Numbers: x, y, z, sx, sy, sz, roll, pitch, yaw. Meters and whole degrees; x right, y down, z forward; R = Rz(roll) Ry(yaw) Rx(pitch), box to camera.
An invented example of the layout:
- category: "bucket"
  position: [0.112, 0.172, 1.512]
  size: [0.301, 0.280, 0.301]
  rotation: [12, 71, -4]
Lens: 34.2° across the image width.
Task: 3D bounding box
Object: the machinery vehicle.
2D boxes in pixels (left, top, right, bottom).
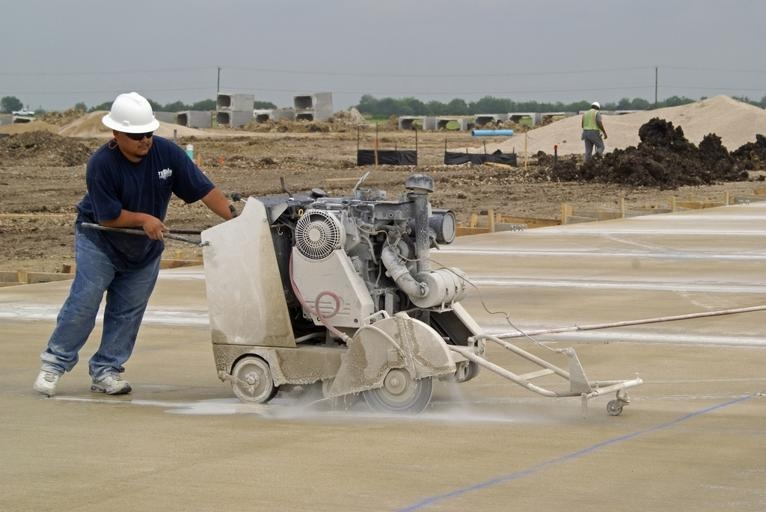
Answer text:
- category: "machinery vehicle"
  position: [-0.018, 0.253, 11.615]
  size: [5.299, 1.918, 1.767]
  rotation: [1, 10, 29]

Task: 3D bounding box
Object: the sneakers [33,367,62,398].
- category: "sneakers"
  position: [-3.130, 1.193, 11.602]
  size: [0.180, 0.297, 0.144]
  rotation: [18, -40, -17]

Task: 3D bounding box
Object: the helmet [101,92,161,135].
- category: "helmet"
  position: [-2.322, -1.373, 11.390]
  size: [0.621, 0.283, 0.615]
  rotation: [4, 18, -3]

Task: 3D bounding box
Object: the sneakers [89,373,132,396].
- category: "sneakers"
  position: [-2.601, 1.210, 11.822]
  size: [0.388, 0.141, 0.180]
  rotation: [-1, -4, 24]

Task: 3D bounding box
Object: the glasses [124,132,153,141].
- category: "glasses"
  position: [-2.177, -1.083, 11.215]
  size: [0.253, 0.078, 0.114]
  rotation: [-3, 4, -44]
